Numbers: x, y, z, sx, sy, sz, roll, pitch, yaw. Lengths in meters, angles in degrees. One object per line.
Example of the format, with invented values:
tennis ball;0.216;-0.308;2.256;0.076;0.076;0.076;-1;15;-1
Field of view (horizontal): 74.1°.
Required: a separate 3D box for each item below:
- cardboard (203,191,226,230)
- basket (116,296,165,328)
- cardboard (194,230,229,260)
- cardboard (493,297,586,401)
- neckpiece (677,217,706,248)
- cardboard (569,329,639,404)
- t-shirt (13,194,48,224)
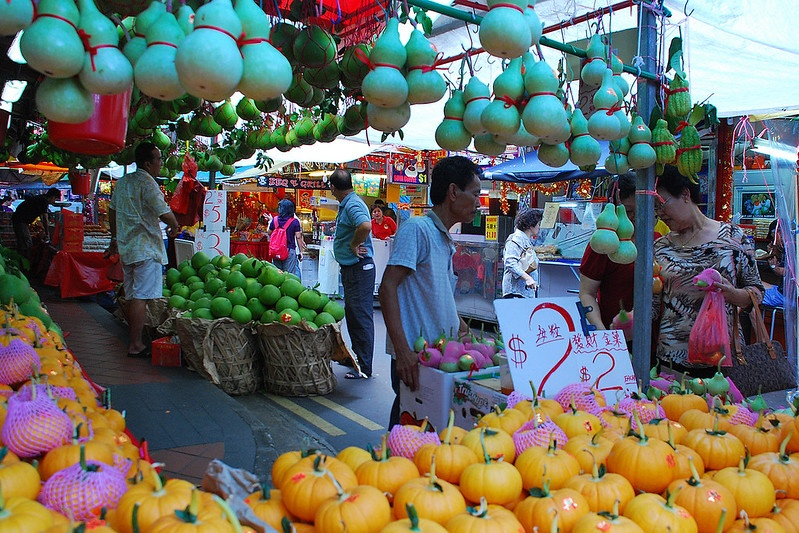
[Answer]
cardboard;-2.341;-0.698;6.701;0.417;0.430;0.240;9;3;37
basket;-2.873;0.498;5.890;0.387;0.220;0.537;7;9;19
cardboard;-2.370;-0.282;6.681;0.355;0.337;0.037;1;-3;10
cardboard;0.732;0.402;2.612;0.471;0.509;0.006;-1;-13;-16
neckpiece;1.876;-0.225;3.364;0.137;0.172;0.123;-19;-24;38
cardboard;1.025;0.510;2.673;0.316;0.342;0.016;-7;-10;-21
t-shirt;-7.881;-1.210;11.206;0.517;0.446;0.624;7;2;-31
